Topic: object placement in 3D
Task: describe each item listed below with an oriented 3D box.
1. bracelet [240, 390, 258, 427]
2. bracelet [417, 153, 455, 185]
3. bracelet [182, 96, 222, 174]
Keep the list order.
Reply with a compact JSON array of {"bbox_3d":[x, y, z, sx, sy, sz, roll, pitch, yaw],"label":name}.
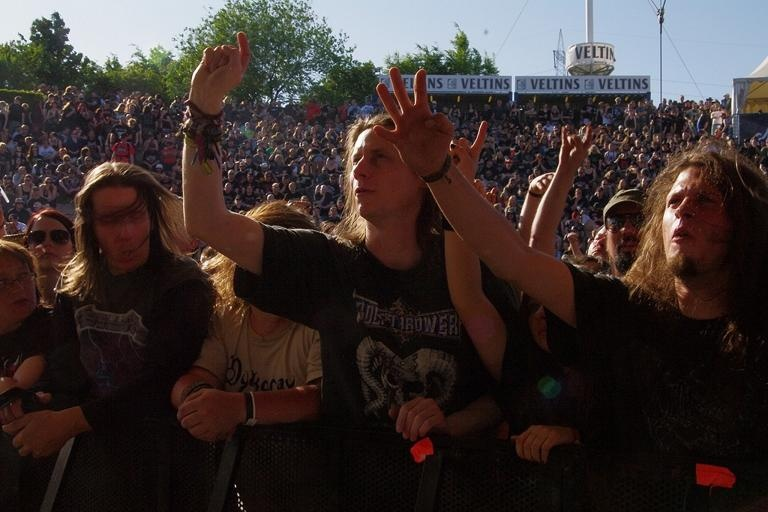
[{"bbox_3d":[-0.537,0.616,2.761,0.051,0.103,0.098,-5,12,-12],"label":"bracelet"},{"bbox_3d":[0.199,-0.312,2.584,0.040,0.113,0.100,26,13,-10],"label":"bracelet"},{"bbox_3d":[-0.766,-0.500,2.864,0.193,0.294,0.204,-1,11,7],"label":"bracelet"}]
